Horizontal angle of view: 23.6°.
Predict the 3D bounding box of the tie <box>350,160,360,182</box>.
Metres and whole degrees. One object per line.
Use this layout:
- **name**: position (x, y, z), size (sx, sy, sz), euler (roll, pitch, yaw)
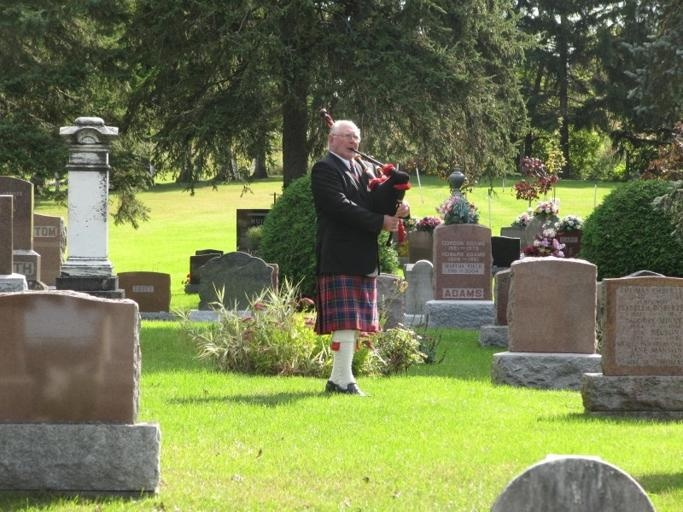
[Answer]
- **tie**: position (0.296, -1.880, 35.649), size (0.095, 0.343, 0.254), euler (-8, -3, 27)
